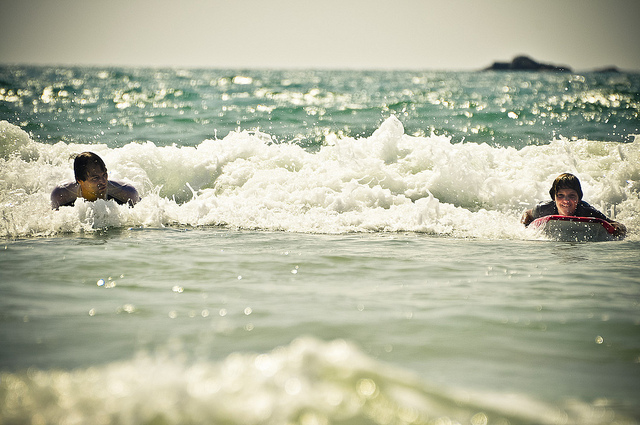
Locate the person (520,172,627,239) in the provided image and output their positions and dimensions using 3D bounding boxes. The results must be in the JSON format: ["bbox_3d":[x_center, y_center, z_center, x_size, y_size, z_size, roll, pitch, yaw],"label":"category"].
[{"bbox_3d":[4.426,-0.106,11.414,1.108,0.328,1.705,7,13,2],"label":"person"}]

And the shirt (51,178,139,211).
[{"bbox_3d":[-4.032,-0.300,12.217,1.439,0.453,1.372,-2,9,28],"label":"shirt"}]

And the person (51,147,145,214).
[{"bbox_3d":[-4.048,-0.420,11.674,1.630,1.005,0.788,-1,4,-32],"label":"person"}]

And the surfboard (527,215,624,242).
[{"bbox_3d":[4.505,0.466,11.595,1.231,0.312,1.575,0,-19,17],"label":"surfboard"}]
